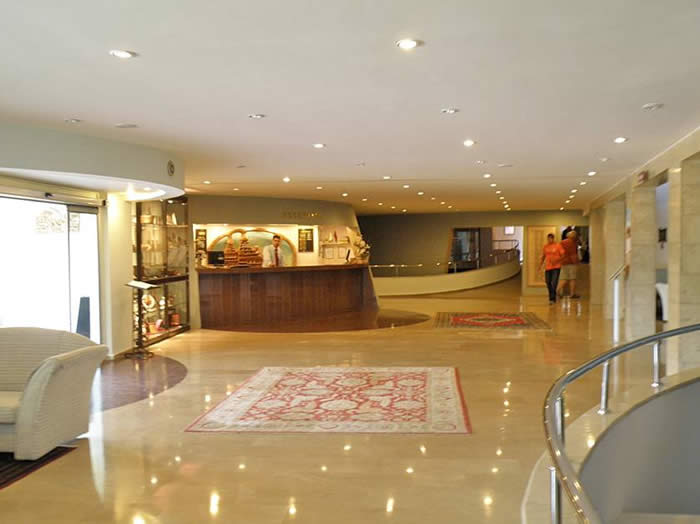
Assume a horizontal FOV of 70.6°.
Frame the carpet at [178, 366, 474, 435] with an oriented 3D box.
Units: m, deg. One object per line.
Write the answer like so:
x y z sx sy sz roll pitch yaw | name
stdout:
-0.082 1.633 6.220 2.985 0.036 2.559 -1 3 5 | carpet

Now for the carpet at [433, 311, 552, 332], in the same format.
3.308 1.357 11.726 2.402 0.041 2.547 -1 3 7 | carpet
